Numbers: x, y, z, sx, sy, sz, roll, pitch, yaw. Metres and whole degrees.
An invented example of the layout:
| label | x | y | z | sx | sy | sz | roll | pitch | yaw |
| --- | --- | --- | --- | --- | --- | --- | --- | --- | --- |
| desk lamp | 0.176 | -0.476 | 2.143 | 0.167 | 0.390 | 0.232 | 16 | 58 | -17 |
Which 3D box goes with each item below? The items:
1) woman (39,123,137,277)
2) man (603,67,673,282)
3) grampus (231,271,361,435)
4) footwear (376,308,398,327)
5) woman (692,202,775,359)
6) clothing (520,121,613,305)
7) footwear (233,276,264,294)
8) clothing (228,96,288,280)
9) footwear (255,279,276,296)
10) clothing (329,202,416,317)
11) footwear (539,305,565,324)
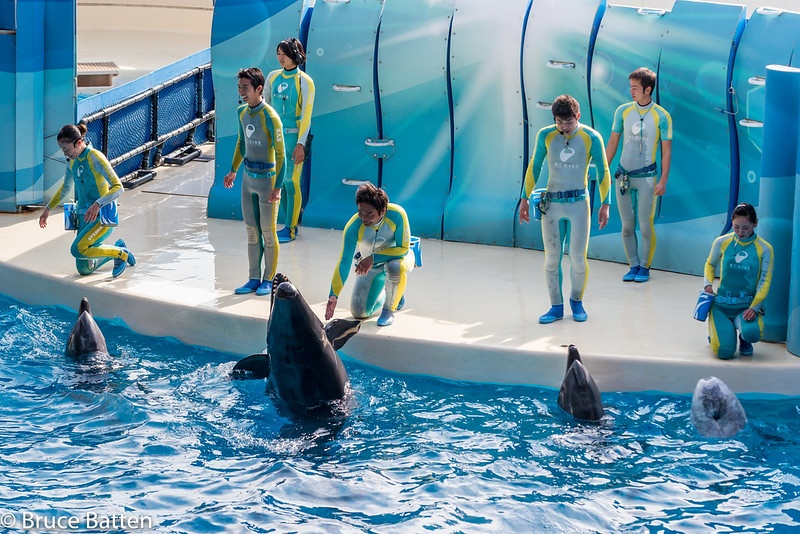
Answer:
| label | x | y | z | sx | sy | sz | roll | pitch | yaw |
| --- | --- | --- | --- | --- | --- | --- | --- | --- | --- |
| woman | -3.176 | -0.673 | 7.734 | 0.757 | 1.498 | 0.424 | 4 | 6 | 12 |
| man | 2.467 | -0.909 | 7.789 | 0.587 | 2.138 | 0.777 | 5 | 7 | 22 |
| grampus | -0.745 | 0.674 | 5.646 | 0.805 | 1.286 | 0.459 | -13 | 36 | -3 |
| footwear | -0.114 | 0.462 | 6.785 | 0.138 | 0.149 | 0.379 | 2 | 2 | 11 |
| woman | 2.789 | 0.117 | 6.260 | 0.531 | 1.277 | 0.402 | 6 | 7 | 28 |
| clothing | 1.464 | -0.438 | 6.715 | 0.754 | 1.652 | 0.428 | 4 | 6 | 13 |
| footwear | -1.474 | 0.195 | 7.332 | 0.281 | 0.190 | 0.118 | -1 | 6 | -11 |
| clothing | -1.340 | -0.709 | 7.250 | 0.429 | 1.700 | 0.208 | 5 | 7 | 21 |
| footwear | -1.309 | 0.206 | 7.397 | 0.149 | 0.153 | 0.383 | 1 | -1 | 0 |
| clothing | -0.232 | -0.143 | 6.650 | 0.846 | 0.820 | 0.443 | 1 | 6 | -17 |
| footwear | 1.396 | 0.432 | 6.874 | 0.269 | 0.181 | 0.112 | -6 | 9 | -15 |
